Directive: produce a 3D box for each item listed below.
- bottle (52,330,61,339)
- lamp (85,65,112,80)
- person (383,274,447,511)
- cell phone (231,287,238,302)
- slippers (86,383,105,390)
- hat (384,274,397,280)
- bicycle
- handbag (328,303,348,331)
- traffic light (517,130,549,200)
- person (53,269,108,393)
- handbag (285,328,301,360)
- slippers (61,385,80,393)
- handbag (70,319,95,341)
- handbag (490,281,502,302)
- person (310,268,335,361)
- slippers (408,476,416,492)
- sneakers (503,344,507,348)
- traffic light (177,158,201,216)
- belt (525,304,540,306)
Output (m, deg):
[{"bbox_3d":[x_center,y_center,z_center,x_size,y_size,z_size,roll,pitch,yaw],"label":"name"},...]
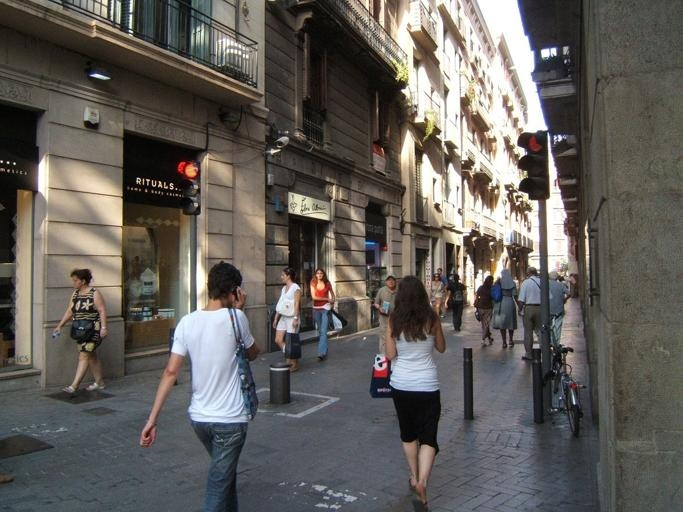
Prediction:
[{"bbox_3d":[-4.695,1.282,10.530,0.129,0.096,0.227,2,0,-21],"label":"bottle"},{"bbox_3d":[-4.384,-3.286,11.525,0.331,0.159,0.292,-5,-6,14],"label":"lamp"},{"bbox_3d":[0.744,1.386,6.788,0.557,2.369,0.688,-5,-6,32],"label":"person"},{"bbox_3d":[-0.996,0.366,6.113,0.071,0.115,0.093,5,-10,5],"label":"cell phone"},{"bbox_3d":[-4.100,2.175,10.659,0.222,0.118,0.125,5,-10,-15],"label":"slippers"},{"bbox_3d":[1.366,0.582,18.187,0.237,0.141,0.416,1,-7,4],"label":"hat"},{"bbox_3d":[3.238,1.866,9.333,0.748,1.113,1.680,-6,-6,11],"label":"bicycle"},{"bbox_3d":[-0.093,1.346,13.907,0.289,0.450,0.614,-1,-6,-15],"label":"handbag"},{"bbox_3d":[2.799,-1.337,9.337,0.429,1.028,0.685,-5,-6,24],"label":"traffic light"},{"bbox_3d":[-4.296,1.225,10.554,0.768,2.011,0.943,2,-7,-41],"label":"person"},{"bbox_3d":[-0.941,1.701,12.275,0.433,0.714,0.380,1,-6,-18],"label":"handbag"},{"bbox_3d":[-4.350,2.115,10.281,0.238,0.128,0.126,6,-19,6],"label":"slippers"},{"bbox_3d":[-4.170,1.211,10.401,0.389,0.458,0.282,1,-15,-11],"label":"handbag"},{"bbox_3d":[3.689,0.900,15.238,0.319,0.774,0.506,0,-5,12],"label":"handbag"},{"bbox_3d":[-0.409,1.298,14.374,0.476,2.050,0.874,-2,-5,-1],"label":"person"},{"bbox_3d":[0.768,2.469,6.926,0.106,0.152,0.359,-2,-21,1],"label":"slippers"},{"bbox_3d":[3.999,2.193,15.578,0.071,0.147,0.072,-1,-7,3],"label":"sneakers"},{"bbox_3d":[-2.719,-1.208,11.476,0.341,1.273,2.116,-1,-6,-13],"label":"traffic light"},{"bbox_3d":[3.890,1.000,13.067,0.043,0.046,0.306,2,-9,-43],"label":"belt"}]
